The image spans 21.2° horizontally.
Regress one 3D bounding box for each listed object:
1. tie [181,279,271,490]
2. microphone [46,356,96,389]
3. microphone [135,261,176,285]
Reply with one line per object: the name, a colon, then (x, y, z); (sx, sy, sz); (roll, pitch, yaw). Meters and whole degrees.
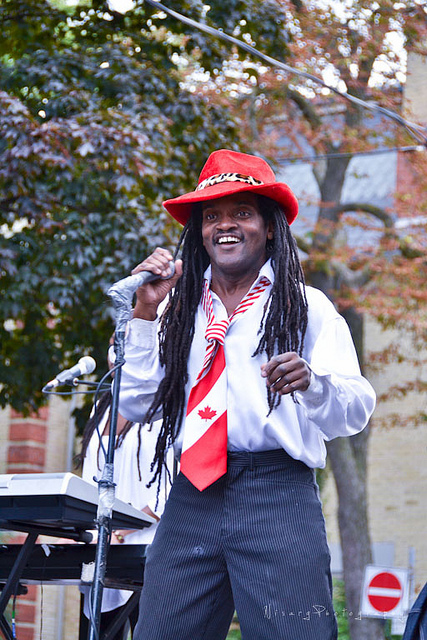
tie: (-0.018, 0.279, 4.179); (0.298, 0.625, 0.038); (6, -25, 7)
microphone: (-0.526, 0.195, 4.365); (0.152, 0.109, 0.393); (2, 1, 3)
microphone: (-0.223, -0.183, 4.351); (0.105, 0.086, 0.150); (3, 1, 20)
